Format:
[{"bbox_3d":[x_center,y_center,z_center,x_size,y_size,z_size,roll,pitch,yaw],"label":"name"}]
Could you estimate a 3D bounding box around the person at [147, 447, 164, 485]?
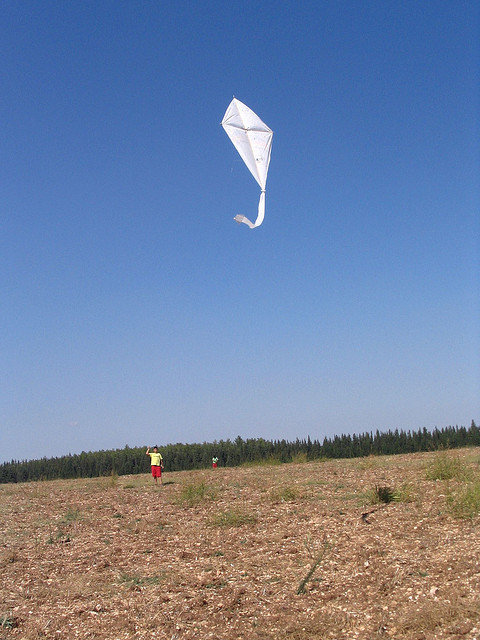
[{"bbox_3d":[-3.546,6.109,22.855,0.495,1.529,2.486,-1,-9,-10],"label":"person"}]
